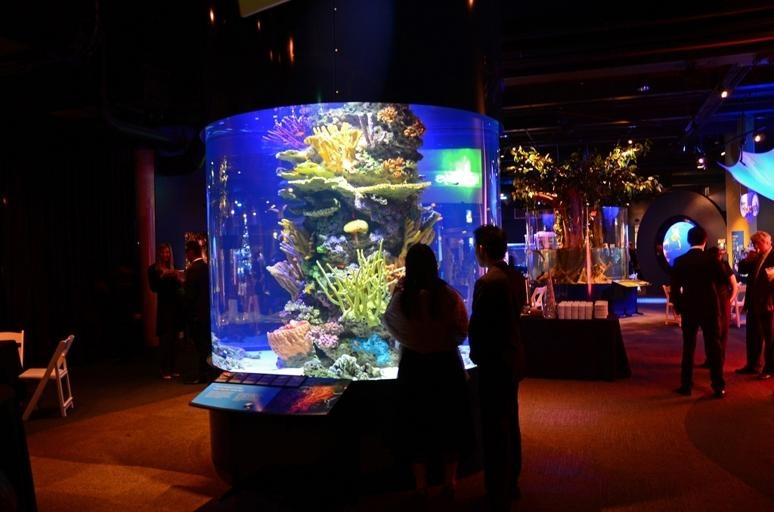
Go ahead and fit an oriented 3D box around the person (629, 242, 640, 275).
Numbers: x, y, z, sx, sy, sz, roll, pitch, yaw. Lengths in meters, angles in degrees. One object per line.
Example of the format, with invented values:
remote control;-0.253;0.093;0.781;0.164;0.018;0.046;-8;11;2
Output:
person;8.614;0.213;20.030;0.303;1.044;1.869;0;1;24

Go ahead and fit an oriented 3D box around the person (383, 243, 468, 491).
person;0.391;0.958;5.666;0.796;2.135;0.236;0;1;6

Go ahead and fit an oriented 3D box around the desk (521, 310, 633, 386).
desk;2.852;1.668;9.535;1.989;0.897;1.561;6;-28;-4

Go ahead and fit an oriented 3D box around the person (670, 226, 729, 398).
person;4.313;0.766;7.990;0.685;2.333;0.353;0;1;30

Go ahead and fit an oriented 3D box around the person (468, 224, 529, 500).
person;1.095;1.086;5.801;0.616;2.800;0.420;0;1;-8
